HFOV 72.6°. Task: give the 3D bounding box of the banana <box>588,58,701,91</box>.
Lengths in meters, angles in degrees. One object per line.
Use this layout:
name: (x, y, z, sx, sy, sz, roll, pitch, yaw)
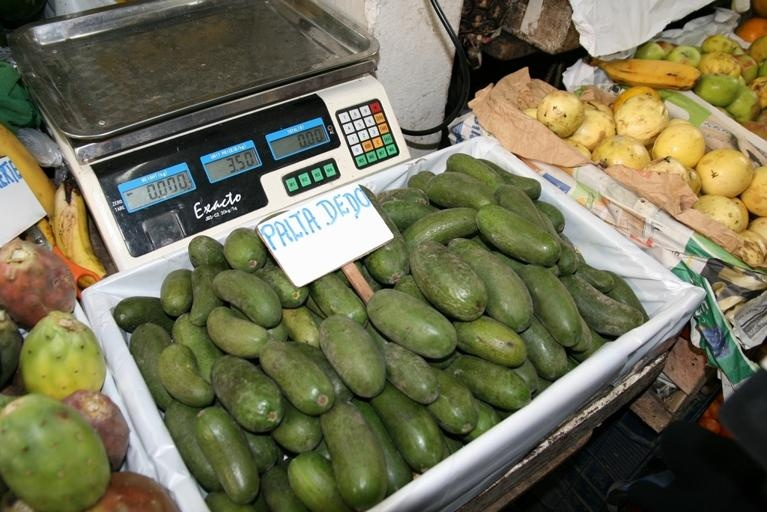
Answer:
banana: (1.587, -1.142, 3.187, 0.613, 0.215, 0.195, 14, 68, 25)
